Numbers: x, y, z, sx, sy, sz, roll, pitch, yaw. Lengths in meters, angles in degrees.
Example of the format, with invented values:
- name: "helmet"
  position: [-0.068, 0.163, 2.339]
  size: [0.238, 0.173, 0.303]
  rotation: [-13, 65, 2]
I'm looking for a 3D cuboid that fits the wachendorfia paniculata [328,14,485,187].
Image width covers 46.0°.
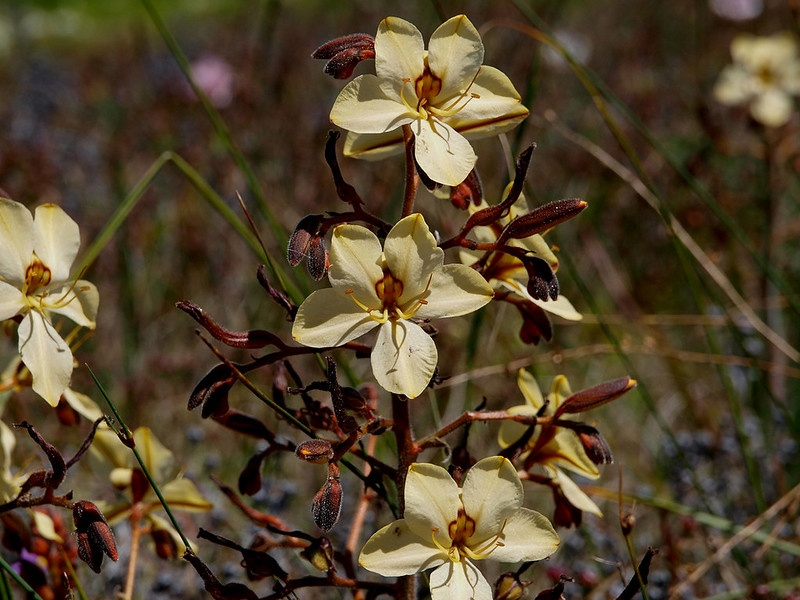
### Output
- name: "wachendorfia paniculata"
  position: [0.107, -1.011, 4.449]
  size: [0.704, 0.210, 0.786]
  rotation: [23, 83, 5]

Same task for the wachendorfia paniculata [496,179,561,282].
- name: "wachendorfia paniculata"
  position: [0.660, -0.360, 4.791]
  size: [0.286, 0.687, 0.462]
  rotation: [4, 79, 4]
